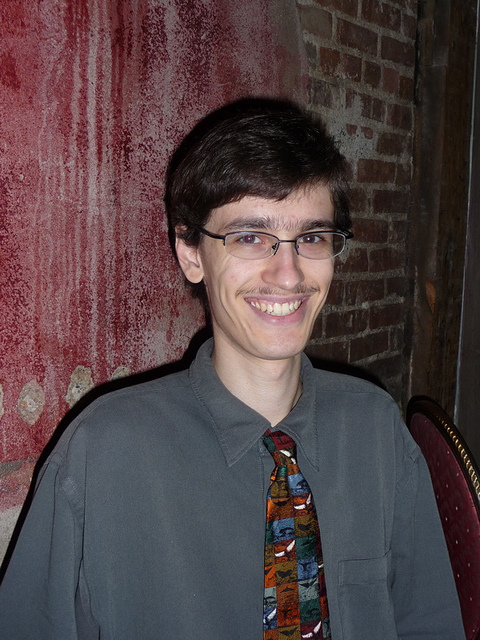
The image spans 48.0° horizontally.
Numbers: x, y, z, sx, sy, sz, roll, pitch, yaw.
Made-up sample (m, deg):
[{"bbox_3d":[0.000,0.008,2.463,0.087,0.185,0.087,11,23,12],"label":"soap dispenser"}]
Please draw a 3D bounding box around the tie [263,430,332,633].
[{"bbox_3d":[0.080,0.401,1.029,0.138,0.338,0.169,-1,3,-23],"label":"tie"}]

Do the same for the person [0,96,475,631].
[{"bbox_3d":[0.003,0.119,1.109,0.929,1.110,0.397,-2,3,-27],"label":"person"}]
